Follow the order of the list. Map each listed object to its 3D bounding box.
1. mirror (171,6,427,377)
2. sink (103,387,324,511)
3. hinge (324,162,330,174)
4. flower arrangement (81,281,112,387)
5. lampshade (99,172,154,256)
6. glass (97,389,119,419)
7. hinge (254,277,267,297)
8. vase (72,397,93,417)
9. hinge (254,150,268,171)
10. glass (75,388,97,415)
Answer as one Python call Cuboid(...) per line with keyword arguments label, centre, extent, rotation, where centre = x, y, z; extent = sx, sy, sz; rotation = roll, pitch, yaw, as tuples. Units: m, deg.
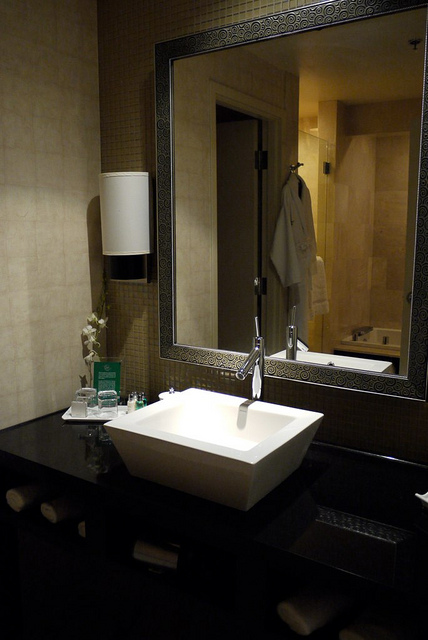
Cuboid(label="mirror", centre=(0.176, -0.334, 1.405), extent=(0.776, 0.911, 0.046), rotation=(4, 7, 36))
Cuboid(label="sink", centre=(0.022, 0.297, 1.300), extent=(0.460, 0.145, 0.524), rotation=(4, 8, 32))
Cuboid(label="hinge", centre=(0.294, -0.399, 1.311), extent=(0.018, 0.030, 0.003), rotation=(5, 8, 42))
Cuboid(label="flower arrangement", centre=(-0.432, 0.059, 1.849), extent=(0.111, 0.398, 0.187), rotation=(-2, 6, -13))
Cuboid(label="lampshade", centre=(-0.292, -0.347, 1.636), extent=(0.153, 0.261, 0.091), rotation=(-2, 6, -11))
Cuboid(label="glass", centre=(-0.347, 0.273, 1.636), extent=(0.070, 0.115, 0.076), rotation=(0, 1, 4))
Cuboid(label="hinge", centre=(0.136, -0.100, 1.479), extent=(0.044, 0.057, 0.045), rotation=(0, 1, 39))
Cuboid(label="vase", centre=(-0.433, 0.277, 1.645), extent=(0.054, 0.060, 0.058), rotation=(-2, 5, -4))
Cuboid(label="hinge", centre=(0.134, -0.458, 1.428), extent=(0.037, 0.057, 0.053), rotation=(5, 8, 44))
Cuboid(label="glass", centre=(-0.412, 0.265, 1.662), extent=(0.070, 0.102, 0.075), rotation=(-1, 1, -4))
